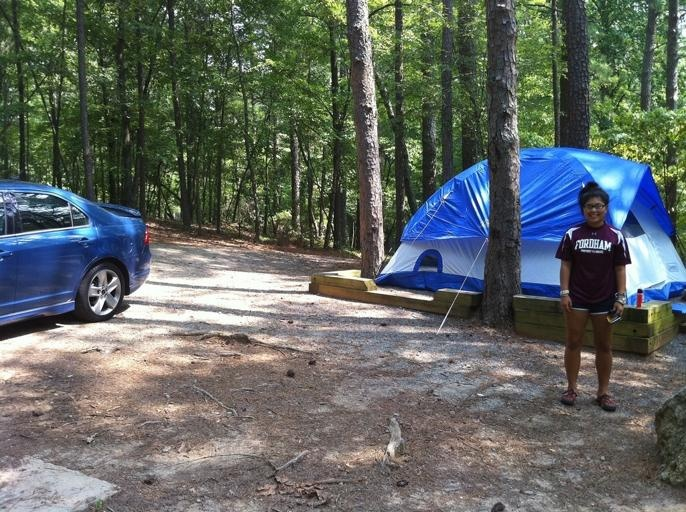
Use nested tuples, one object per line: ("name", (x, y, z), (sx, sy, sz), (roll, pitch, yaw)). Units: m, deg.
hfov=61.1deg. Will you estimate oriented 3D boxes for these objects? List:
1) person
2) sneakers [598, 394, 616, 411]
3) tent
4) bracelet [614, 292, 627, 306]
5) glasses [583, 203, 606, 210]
("person", (2.847, 0.450, 6.682), (0.842, 2.516, 0.685), (8, 14, 20))
("sneakers", (3.015, 1.677, 6.633), (0.226, 0.142, 0.198), (9, 14, 22))
("tent", (4.156, -0.760, 11.663), (3.910, 1.973, 3.897), (-4, 5, -30))
("bracelet", (3.168, 0.476, 6.640), (0.090, 0.135, 0.296), (11, 15, 31))
("glasses", (2.879, -0.559, 6.629), (0.217, 0.068, 0.073), (5, 13, 7))
